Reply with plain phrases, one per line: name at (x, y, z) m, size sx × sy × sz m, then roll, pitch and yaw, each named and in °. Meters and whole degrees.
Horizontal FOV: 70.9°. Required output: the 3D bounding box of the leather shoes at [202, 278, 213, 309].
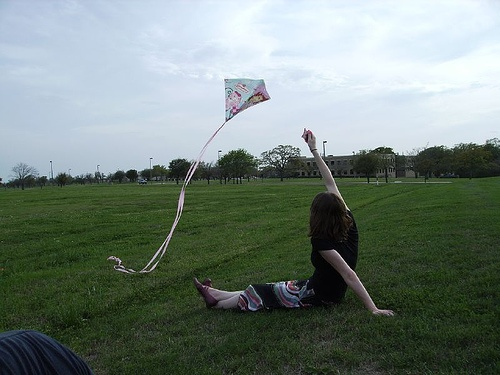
leather shoes at (-0.730, 1.827, 6.031) m, size 0.199 × 0.503 × 0.183 m, roll -11°, pitch -25°, yaw -3°
